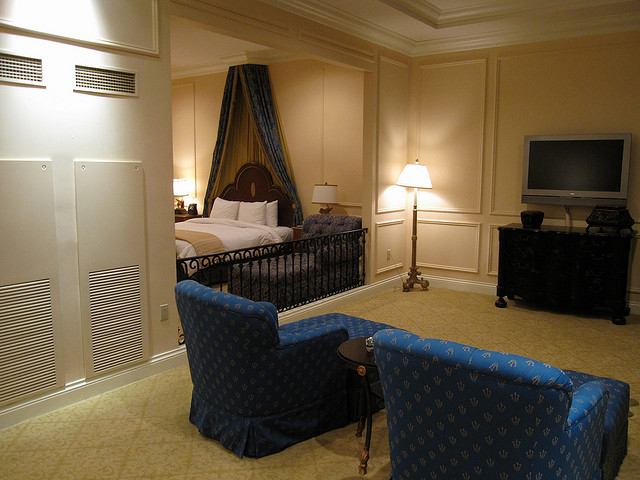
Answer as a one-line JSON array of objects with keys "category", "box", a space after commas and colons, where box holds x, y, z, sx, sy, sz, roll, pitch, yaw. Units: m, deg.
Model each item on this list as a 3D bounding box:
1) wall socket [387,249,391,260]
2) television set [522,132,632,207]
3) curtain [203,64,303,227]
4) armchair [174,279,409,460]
[{"category": "wall socket", "box": [0.969, 0.191, 6.282, 0.015, 0.167, 0.119, 5, 7, 40]}, {"category": "television set", "box": [3.035, -0.840, 5.323, 1.102, 0.822, 0.183, 5, 12, 24]}, {"category": "curtain", "box": [-1.040, -1.539, 7.309, 2.183, 2.966, 0.317, 10, 17, 33]}, {"category": "armchair", "box": [-0.156, 0.778, 3.324, 0.932, 0.992, 1.482, 8, 14, 41]}]
